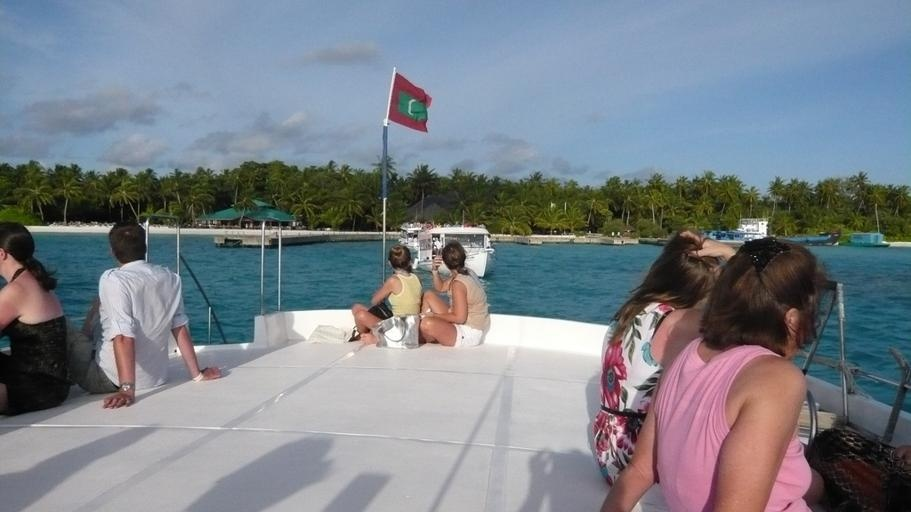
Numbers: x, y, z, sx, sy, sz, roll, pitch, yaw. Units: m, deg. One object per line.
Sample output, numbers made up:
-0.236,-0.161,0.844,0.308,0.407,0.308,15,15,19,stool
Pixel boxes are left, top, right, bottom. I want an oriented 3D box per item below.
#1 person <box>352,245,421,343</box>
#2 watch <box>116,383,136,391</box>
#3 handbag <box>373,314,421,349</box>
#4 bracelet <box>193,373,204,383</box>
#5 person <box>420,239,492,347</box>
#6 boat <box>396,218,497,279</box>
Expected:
-0.764,0.469,7.177,0.798,1.231,1.020,12,18,41,person
-2.820,1.111,4.939,0.083,0.086,0.083,-6,3,9,watch
-0.720,0.868,6.792,0.571,0.375,0.410,-1,11,11,handbag
-2.442,1.159,5.444,0.080,0.054,0.064,0,1,-24,bracelet
0.001,0.432,6.859,0.839,1.204,0.737,3,14,2,person
-0.742,-0.698,33.763,3.473,2.460,9.428,0,0,-11,boat
